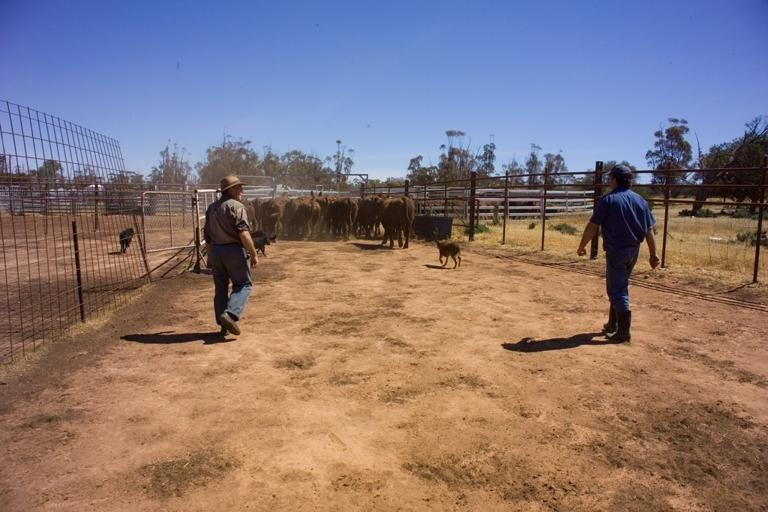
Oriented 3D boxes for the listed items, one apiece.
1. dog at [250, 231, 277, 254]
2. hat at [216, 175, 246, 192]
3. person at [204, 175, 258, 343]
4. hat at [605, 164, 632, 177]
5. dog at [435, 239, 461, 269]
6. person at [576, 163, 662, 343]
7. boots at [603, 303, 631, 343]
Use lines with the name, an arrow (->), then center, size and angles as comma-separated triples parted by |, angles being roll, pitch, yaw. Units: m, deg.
dog -> -3.680, -0.441, 14.230 | 0.389, 0.655, 1.157 | 4, 13, 19
hat -> -2.444, -1.219, 7.512 | 0.329, 0.132, 0.289 | -20, 6, -24
person -> -2.432, -0.014, 7.455 | 0.696, 2.426, 1.432 | -6, 16, -21
hat -> 3.634, -1.328, 7.192 | 0.282, 0.181, 0.586 | 6, 16, 21
dog -> 1.838, -0.141, 13.052 | 0.599, 0.781, 1.827 | 2, 15, 8
person -> 3.697, -0.077, 7.326 | 1.067, 2.647, 1.181 | 9, 17, 30
boots -> 3.660, 1.050, 7.328 | 0.419, 0.532, 0.404 | -9, 22, -21
